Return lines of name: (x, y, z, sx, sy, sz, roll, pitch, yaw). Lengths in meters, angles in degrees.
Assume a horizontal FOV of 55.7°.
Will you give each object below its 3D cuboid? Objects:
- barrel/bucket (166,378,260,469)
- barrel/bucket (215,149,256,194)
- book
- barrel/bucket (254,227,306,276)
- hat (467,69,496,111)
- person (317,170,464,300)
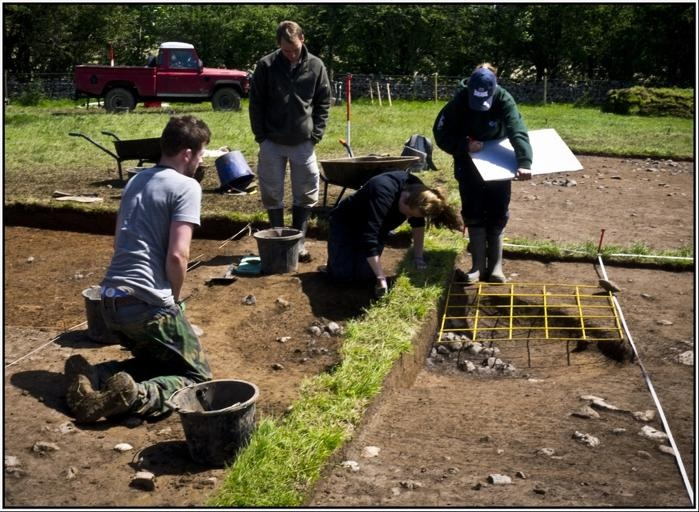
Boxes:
barrel/bucket: (-0.961, 1.159, 4.789, 0.708, 0.377, 0.661, 0, 12, 0)
barrel/bucket: (-1.776, -1.360, 10.277, 0.501, 0.421, 0.455, -19, -8, -3)
book: (1.846, -1.019, 6.755, 0.827, 0.528, 1.361, 11, 16, 39)
barrel/bucket: (-0.736, -0.045, 6.992, 0.619, 0.340, 0.526, 0, 13, 0)
hat: (1.308, -1.665, 6.567, 0.324, 0.392, 0.227, 7, -18, 8)
person: (0.354, -0.286, 6.653, 1.407, 1.095, 0.899, 17, 17, 27)
